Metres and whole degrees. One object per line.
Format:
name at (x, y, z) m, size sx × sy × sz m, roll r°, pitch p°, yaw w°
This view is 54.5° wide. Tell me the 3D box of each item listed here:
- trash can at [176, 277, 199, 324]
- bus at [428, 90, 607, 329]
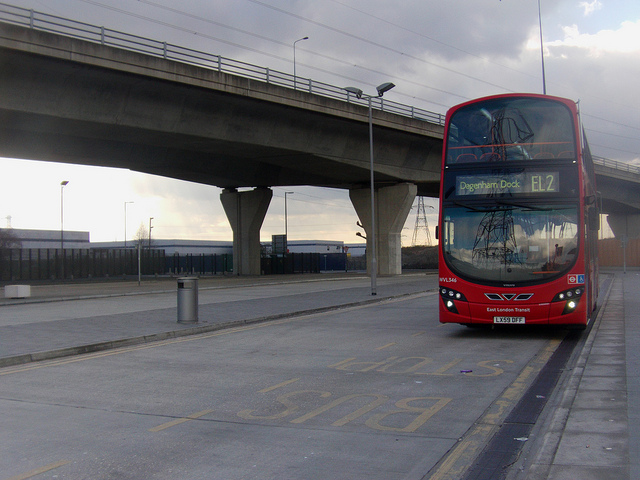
trash can at (-3.745, 1.677, 17.613) m, size 0.565 × 1.262 × 0.361 m, roll -1°, pitch 1°, yaw -19°
bus at (4.536, -0.737, 14.735) m, size 3.211 × 5.348 × 0.840 m, roll -1°, pitch 1°, yaw 14°
